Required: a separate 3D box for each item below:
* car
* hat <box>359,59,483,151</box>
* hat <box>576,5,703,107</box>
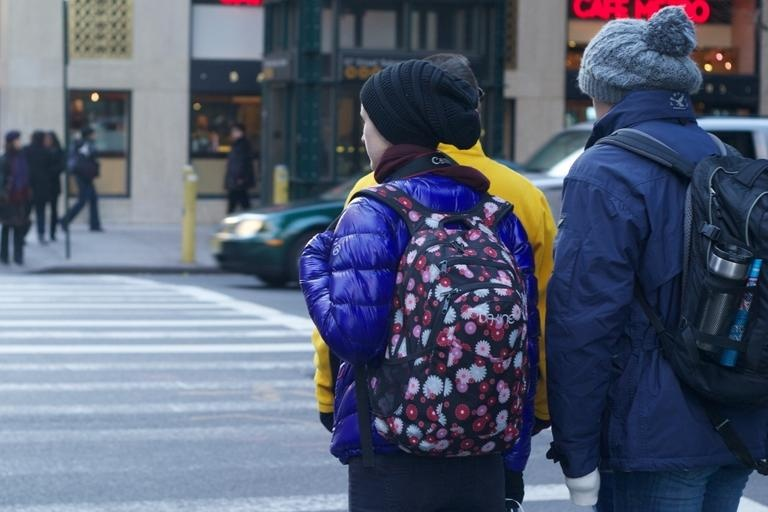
[{"bbox_3d":[0.905,-0.441,13.830,4.654,1.523,2.082,0,-1,-10],"label":"car"},{"bbox_3d":[0.196,-0.652,5.970,0.557,0.360,0.433,13,23,8],"label":"hat"},{"bbox_3d":[1.172,-0.838,6.010,0.447,0.302,0.433,-2,7,-15],"label":"hat"}]
